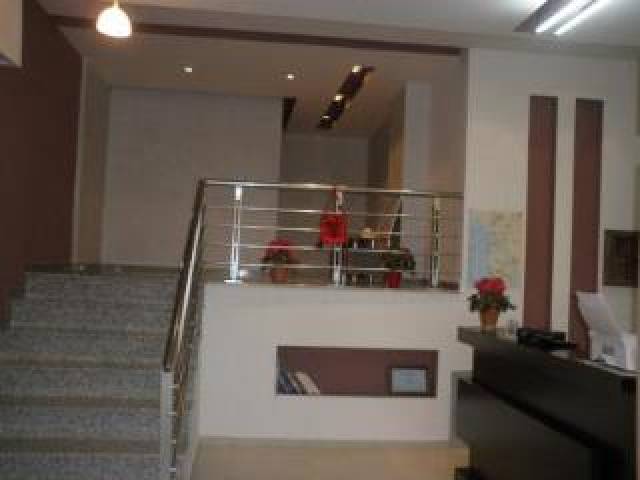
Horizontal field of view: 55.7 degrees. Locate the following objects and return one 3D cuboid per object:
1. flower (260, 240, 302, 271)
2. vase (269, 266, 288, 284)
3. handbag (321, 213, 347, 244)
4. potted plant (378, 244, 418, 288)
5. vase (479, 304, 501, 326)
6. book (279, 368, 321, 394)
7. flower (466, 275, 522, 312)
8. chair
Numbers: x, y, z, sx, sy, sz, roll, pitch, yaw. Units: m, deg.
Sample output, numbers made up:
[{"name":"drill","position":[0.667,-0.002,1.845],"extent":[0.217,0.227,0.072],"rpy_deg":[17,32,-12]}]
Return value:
[{"name":"flower","position":[-0.393,0.134,5.771],"extent":[0.306,0.289,0.450],"rpy_deg":[5,-5,-42]},{"name":"vase","position":[-0.395,0.340,5.726],"extent":[0.153,0.136,0.162],"rpy_deg":[3,-4,0]},{"name":"handbag","position":[0.118,-0.108,5.715],"extent":[0.235,0.340,0.176],"rpy_deg":[2,-15,-8]},{"name":"potted plant","position":[0.756,0.250,5.887],"extent":[0.339,0.378,0.351],"rpy_deg":[0,4,-23]},{"name":"vase","position":[1.434,0.643,5.134],"extent":[0.161,0.142,0.166],"rpy_deg":[4,-7,-25]},{"name":"book","position":[-0.219,1.346,5.691],"extent":[0.266,0.234,0.090],"rpy_deg":[10,30,13]},{"name":"flower","position":[1.424,0.468,5.213],"extent":[0.330,0.268,0.331],"rpy_deg":[-3,7,-32]},{"name":"chair","position":[0.475,0.253,6.946],"extent":[0.586,0.903,0.632],"rpy_deg":[1,4,1]}]
